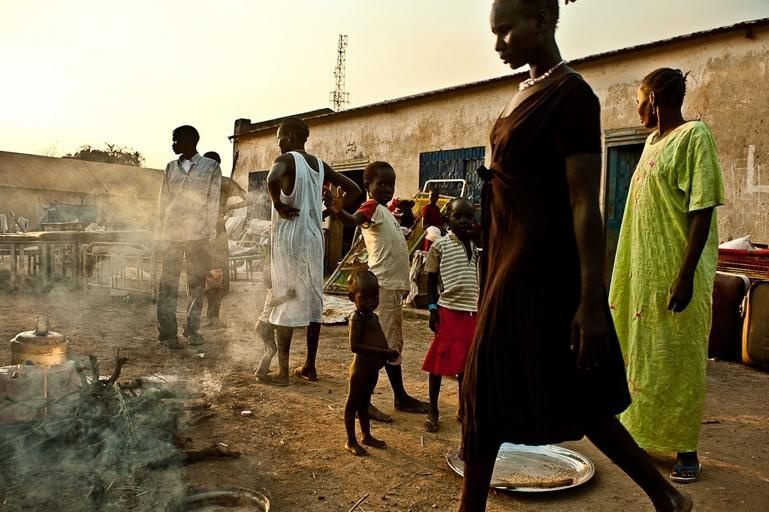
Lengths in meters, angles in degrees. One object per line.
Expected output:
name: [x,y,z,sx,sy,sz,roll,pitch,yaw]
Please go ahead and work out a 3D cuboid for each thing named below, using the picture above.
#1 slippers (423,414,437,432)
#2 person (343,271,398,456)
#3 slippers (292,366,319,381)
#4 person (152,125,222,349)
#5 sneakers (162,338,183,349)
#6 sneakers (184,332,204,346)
slippers: [0.356,1.318,4.860,0.109,0.069,0.275,0,-3,2]
person: [-0.093,0.780,4.588,0.386,1.254,0.652,2,11,-2]
slippers: [-0.752,1.118,5.889,0.233,0.142,0.109,17,11,42]
person: [-2.157,-0.184,6.729,0.701,2.387,0.791,-1,12,-16]
sneakers: [-2.268,0.929,6.559,0.157,0.061,0.119,-2,-1,16]
sneakers: [-2.127,0.910,6.789,0.203,0.198,0.118,-6,0,14]
